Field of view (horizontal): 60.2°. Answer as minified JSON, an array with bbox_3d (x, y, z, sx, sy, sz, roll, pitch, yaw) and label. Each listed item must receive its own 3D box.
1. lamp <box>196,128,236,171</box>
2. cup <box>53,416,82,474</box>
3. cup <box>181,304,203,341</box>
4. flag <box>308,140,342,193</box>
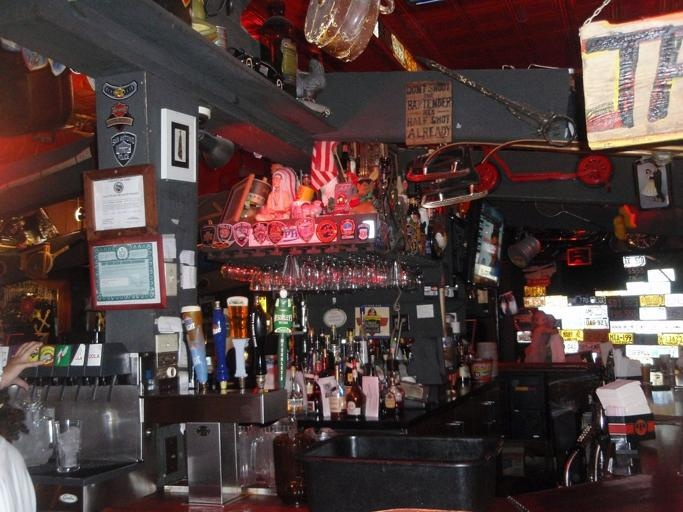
[{"bbox_3d":[-0.821,-0.699,3.859,0.200,0.253,0.392,10,-1,12],"label":"lamp"},{"bbox_3d":[-1.299,0.890,2.807,0.115,0.238,0.273,1,-9,-25],"label":"cup"},{"bbox_3d":[-0.764,0.330,3.037,0.096,0.175,0.251,-1,-8,-15],"label":"cup"},{"bbox_3d":[-0.132,-0.753,4.767,0.240,0.427,0.130,-2,-8,-3],"label":"flag"}]
